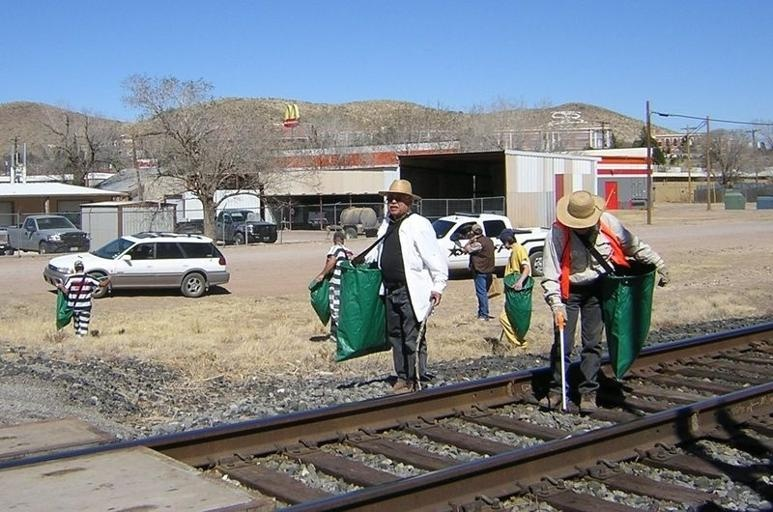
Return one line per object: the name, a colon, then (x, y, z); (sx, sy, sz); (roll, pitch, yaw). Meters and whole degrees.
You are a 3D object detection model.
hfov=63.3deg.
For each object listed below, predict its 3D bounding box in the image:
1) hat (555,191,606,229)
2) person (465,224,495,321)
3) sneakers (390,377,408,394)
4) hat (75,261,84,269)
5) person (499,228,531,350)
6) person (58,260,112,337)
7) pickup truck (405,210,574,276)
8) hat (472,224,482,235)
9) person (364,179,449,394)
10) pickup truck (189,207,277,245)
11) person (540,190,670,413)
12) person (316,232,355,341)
hat: (2.109, -0.604, 6.642); (0.489, 0.187, 0.578); (29, -12, 32)
person: (2.127, 0.507, 14.004); (0.581, 1.907, 0.461); (-5, 6, -2)
sneakers: (0.164, 1.640, 7.975); (0.190, 0.207, 0.065); (2, -11, 3)
hat: (-6.441, 0.171, 13.090); (0.117, 0.161, 0.148); (-1, 35, -15)
person: (2.642, 0.654, 12.778); (0.636, 0.983, 2.261); (5, 31, 7)
person: (-7.076, 0.982, 14.677); (1.371, 2.199, 0.750); (1, 7, -5)
pickup truck: (3.520, -0.491, 20.382); (3.606, 1.727, 1.924); (-1, 3, -17)
hat: (2.081, -0.658, 14.257); (0.190, 0.257, 0.231); (-4, -4, -1)
person: (0.200, 0.378, 7.924); (1.211, 2.648, 0.849); (0, 3, 44)
pickup truck: (-10.054, -2.047, 42.125); (2.457, 2.318, 6.134); (-4, 4, -43)
person: (2.312, 0.477, 6.958); (1.219, 2.432, 0.524); (-6, 6, -10)
person: (-0.941, 0.583, 11.439); (0.634, 2.098, 0.889); (-4, 6, 6)
